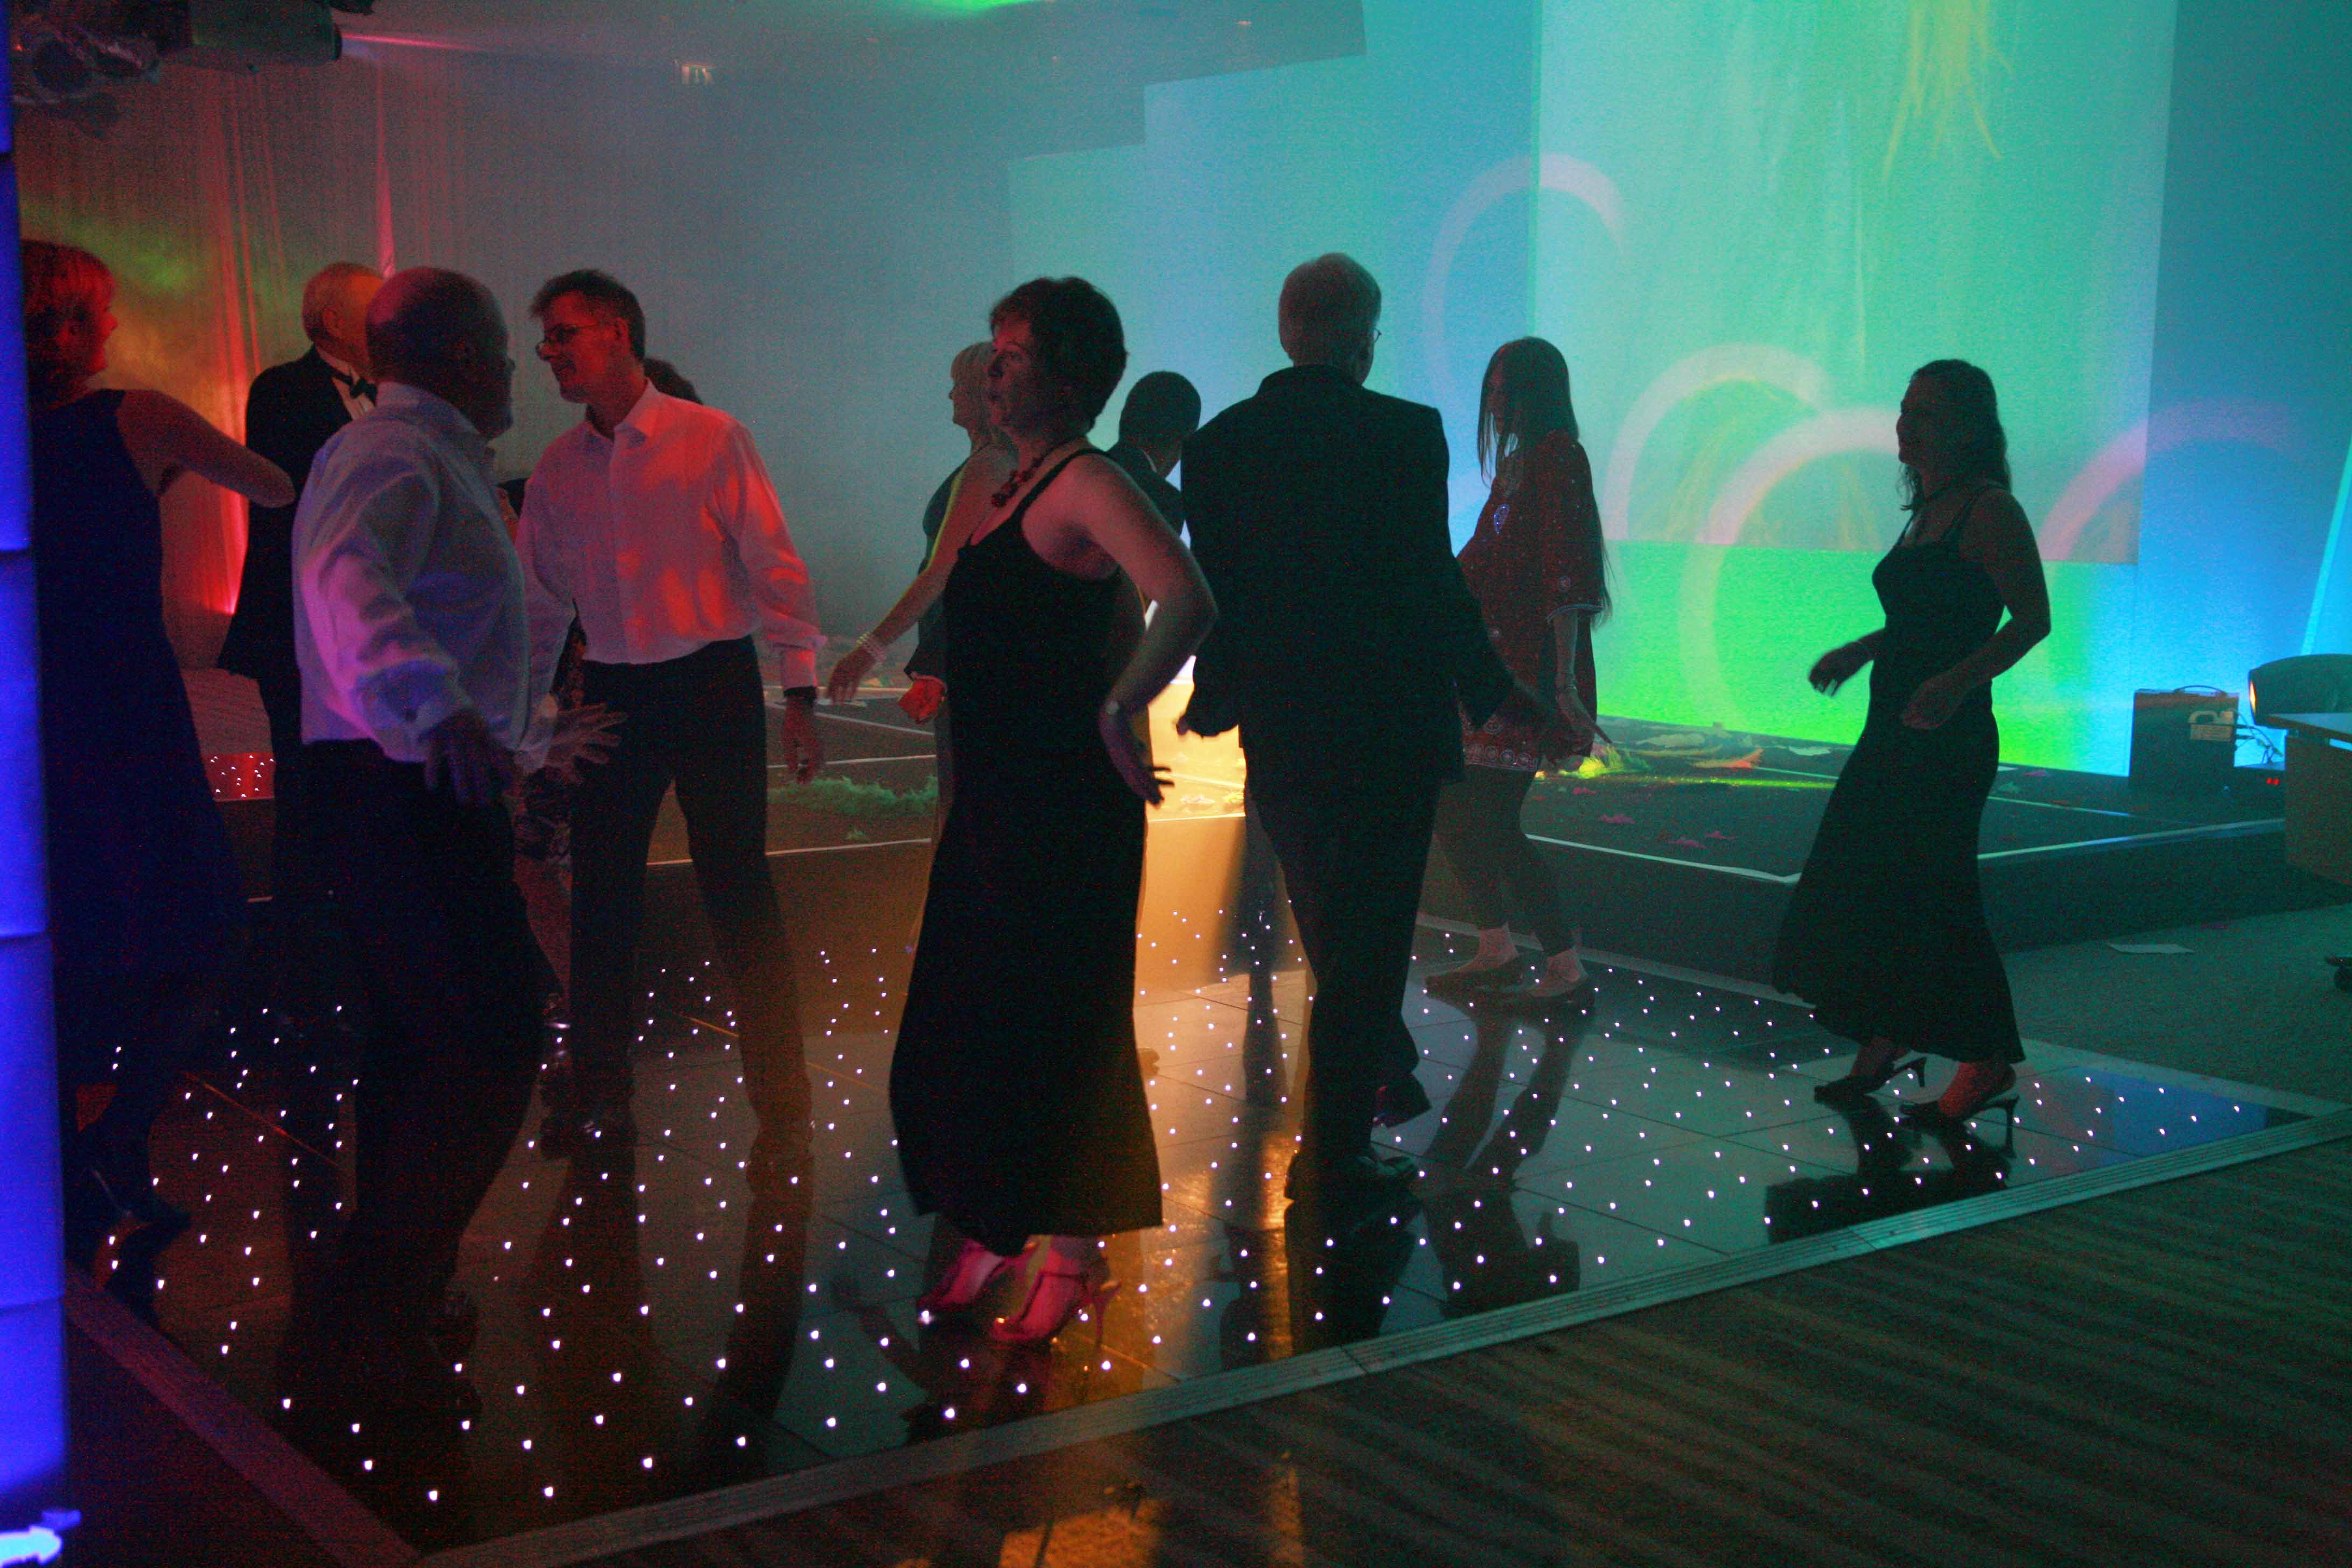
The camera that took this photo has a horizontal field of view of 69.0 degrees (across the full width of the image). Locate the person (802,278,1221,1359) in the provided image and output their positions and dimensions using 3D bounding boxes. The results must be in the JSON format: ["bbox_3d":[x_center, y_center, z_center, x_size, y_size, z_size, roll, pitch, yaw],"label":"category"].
[{"bbox_3d":[-0.281,-0.032,3.603,0.678,1.989,0.427,-2,14,-11],"label":"person"}]

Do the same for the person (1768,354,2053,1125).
[{"bbox_3d":[2.087,-0.123,4.764,0.654,2.030,0.473,8,16,29],"label":"person"}]

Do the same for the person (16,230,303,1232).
[{"bbox_3d":[-2.516,0.043,4.139,0.393,1.931,0.589,8,16,29],"label":"person"}]

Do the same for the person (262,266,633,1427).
[{"bbox_3d":[-1.538,0.104,3.480,0.604,2.221,0.659,-1,14,-6],"label":"person"}]

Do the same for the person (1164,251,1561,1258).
[{"bbox_3d":[0.436,-0.138,4.321,0.657,2.297,0.704,-11,18,-37],"label":"person"}]

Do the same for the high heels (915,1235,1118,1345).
[{"bbox_3d":[-0.345,1.123,3.784,0.304,0.126,0.231,-11,-19,23],"label":"high heels"}]
